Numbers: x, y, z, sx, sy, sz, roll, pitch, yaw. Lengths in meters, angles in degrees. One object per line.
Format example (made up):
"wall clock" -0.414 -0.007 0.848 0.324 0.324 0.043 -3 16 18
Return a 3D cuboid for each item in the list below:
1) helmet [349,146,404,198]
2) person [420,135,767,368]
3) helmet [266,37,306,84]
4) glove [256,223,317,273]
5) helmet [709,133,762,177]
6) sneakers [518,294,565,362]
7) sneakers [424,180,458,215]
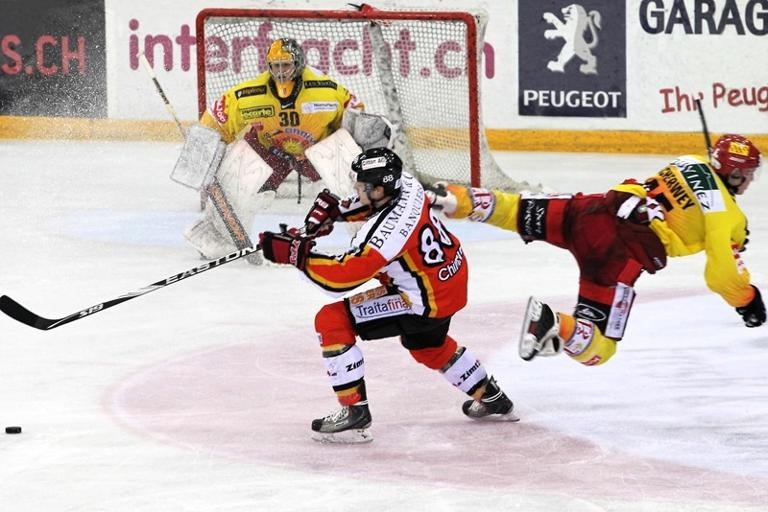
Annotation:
"helmet" -0.017 -0.366 4.256 0.275 0.196 0.181 -15 42 -1
"person" 0.884 0.105 4.593 1.687 0.823 1.047 -8 48 -6
"helmet" -0.705 -1.371 6.645 0.285 0.263 0.320 -3 28 16
"glove" -0.443 -0.035 4.219 0.245 0.066 0.225 12 7 -4
"helmet" 1.634 -0.478 4.476 0.249 0.170 0.167 -7 32 15
"sneakers" 0.697 0.333 4.229 0.202 0.316 0.123 6 -14 -5
"sneakers" 0.300 -0.273 4.761 0.180 0.062 0.163 27 15 -17
